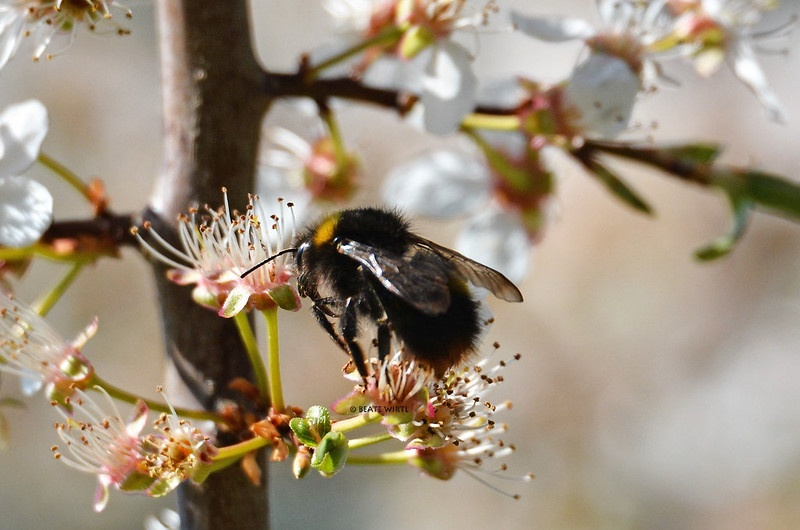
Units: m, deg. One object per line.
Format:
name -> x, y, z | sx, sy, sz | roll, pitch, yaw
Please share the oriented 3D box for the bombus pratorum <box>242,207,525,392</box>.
bombus pratorum -> -0.040, 0.034, 1.401 | 0.364, 0.235, 0.185 | 19, 19, 32
